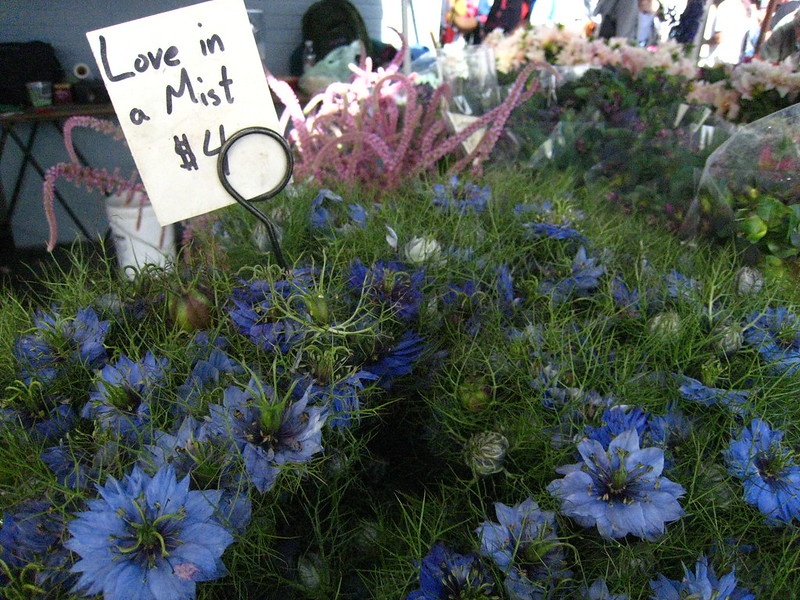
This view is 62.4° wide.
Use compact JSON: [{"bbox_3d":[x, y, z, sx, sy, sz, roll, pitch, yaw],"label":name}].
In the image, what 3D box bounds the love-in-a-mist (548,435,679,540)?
[{"bbox_3d":[0.195,0.156,0.580,0.098,0.034,0.097,-23,35,-37],"label":"love-in-a-mist"}]
